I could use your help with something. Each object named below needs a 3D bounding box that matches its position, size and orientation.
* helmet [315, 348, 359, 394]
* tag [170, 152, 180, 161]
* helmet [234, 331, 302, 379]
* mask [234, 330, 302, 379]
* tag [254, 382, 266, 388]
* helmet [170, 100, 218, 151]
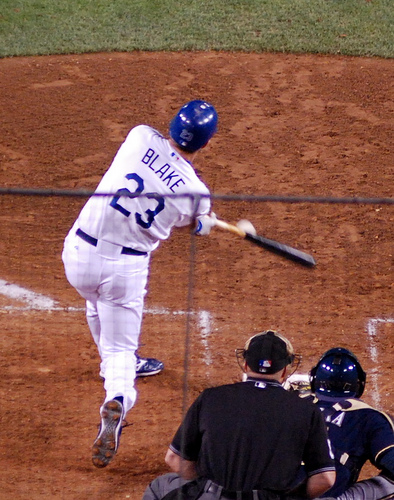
[{"bbox_3d":[1.102,0.969,8.848,0.334,0.181,0.266,8,46,3],"label":"helmet"},{"bbox_3d":[-0.190,-0.774,9.278,0.060,0.015,0.063,52,20,22],"label":"tag"},{"bbox_3d":[0.554,0.825,8.751,0.488,0.253,0.476,4,26,4],"label":"helmet"},{"bbox_3d":[0.537,0.756,8.723,0.572,0.305,0.581,9,18,2],"label":"mask"},{"bbox_3d":[0.472,1.005,8.450,0.086,0.013,0.042,14,46,9],"label":"tag"},{"bbox_3d":[-0.031,-1.047,9.421,0.323,0.284,0.438,33,52,24],"label":"helmet"}]
